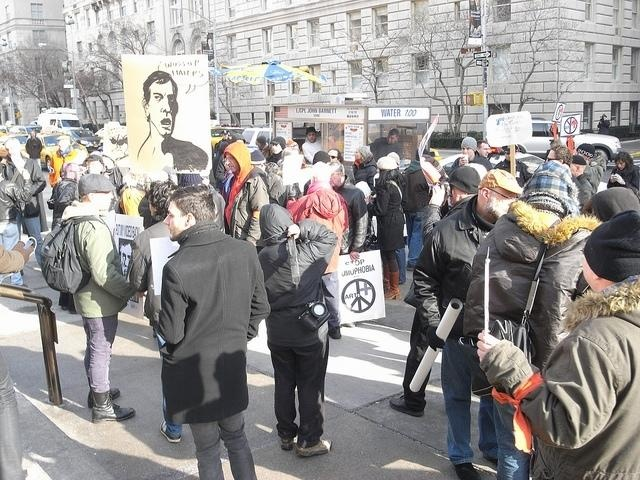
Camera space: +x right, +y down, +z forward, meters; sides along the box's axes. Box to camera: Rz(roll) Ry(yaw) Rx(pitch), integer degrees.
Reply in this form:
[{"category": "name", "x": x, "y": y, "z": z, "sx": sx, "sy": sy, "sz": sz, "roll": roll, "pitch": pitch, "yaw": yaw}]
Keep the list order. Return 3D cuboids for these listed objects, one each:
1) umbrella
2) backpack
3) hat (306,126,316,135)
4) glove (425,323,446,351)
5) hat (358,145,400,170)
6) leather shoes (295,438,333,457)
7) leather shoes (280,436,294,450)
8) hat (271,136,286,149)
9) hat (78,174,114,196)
[{"category": "umbrella", "x": -1.345, "y": -3.885, "z": 16.358, "sx": 2.529, "sy": 1.969, "sz": 2.662, "roll": -2, "pitch": 3, "yaw": -7}, {"category": "backpack", "x": -2.362, "y": 0.177, "z": 5.734, "sx": 0.442, "sy": 0.732, "sz": 0.495, "roll": -1, "pitch": -7, "yaw": 28}, {"category": "hat", "x": -0.199, "y": -2.521, "z": 14.074, "sx": 0.142, "sy": 0.157, "sz": 0.195, "roll": -1, "pitch": 24, "yaw": 5}, {"category": "glove", "x": 0.844, "y": 0.729, "z": 4.458, "sx": 0.052, "sy": 0.120, "sz": 0.152, "roll": 18, "pitch": 21, "yaw": -33}, {"category": "hat", "x": 0.938, "y": -1.270, "z": 9.850, "sx": 0.672, "sy": 0.290, "sz": 0.448, "roll": 10, "pitch": 17, "yaw": 17}, {"category": "leather shoes", "x": -0.049, "y": 1.786, "z": 5.164, "sx": 0.298, "sy": 0.147, "sz": 0.118, "roll": -7, "pitch": 14, "yaw": -33}, {"category": "leather shoes", "x": -0.280, "y": 1.764, "z": 5.275, "sx": 0.126, "sy": 0.126, "sz": 0.085, "roll": -2, "pitch": 13, "yaw": -4}, {"category": "hat", "x": -0.837, "y": -1.927, "z": 12.049, "sx": 0.220, "sy": 0.260, "sz": 0.304, "roll": 5, "pitch": 10, "yaw": 24}, {"category": "hat", "x": -2.124, "y": -0.511, "z": 5.782, "sx": 0.264, "sy": 0.150, "sz": 0.198, "roll": -13, "pitch": 26, "yaw": -27}]
